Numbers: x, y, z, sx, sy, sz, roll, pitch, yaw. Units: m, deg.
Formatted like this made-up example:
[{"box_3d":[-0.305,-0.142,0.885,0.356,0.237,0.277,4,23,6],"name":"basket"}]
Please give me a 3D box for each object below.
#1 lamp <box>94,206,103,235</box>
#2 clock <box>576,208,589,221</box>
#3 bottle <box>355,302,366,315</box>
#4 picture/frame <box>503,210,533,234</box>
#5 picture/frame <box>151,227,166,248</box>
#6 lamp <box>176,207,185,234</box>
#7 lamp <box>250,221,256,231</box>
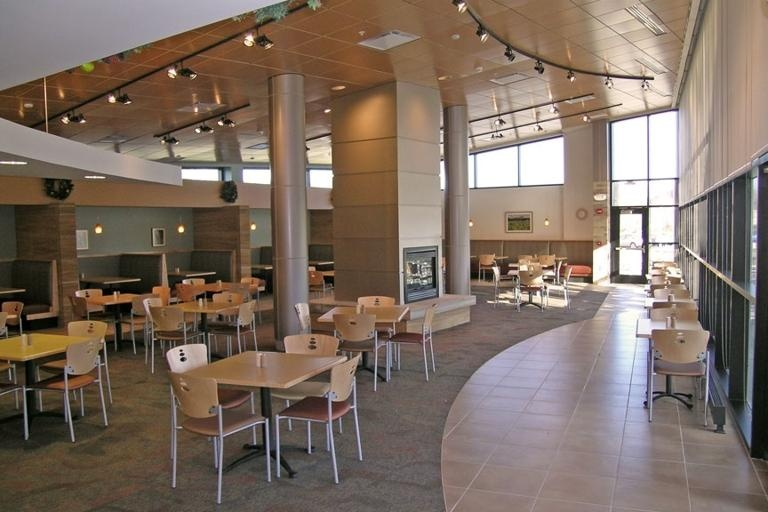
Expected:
[{"box_3d":[-7.818,-0.854,14.384,0.229,0.536,0.470,-5,9,-25],"name":"lamp"},{"box_3d":[7.230,-1.526,19.174,0.095,0.435,0.484,-8,10,-39],"name":"clock"},{"box_3d":[-0.382,0.832,8.411,0.130,0.139,0.158,-1,0,7],"name":"bottle"},{"box_3d":[5.326,-1.362,20.680,1.132,0.697,0.044,1,2,36],"name":"picture/frame"},{"box_3d":[-6.831,-0.588,15.838,0.090,0.678,0.687,-5,-1,37],"name":"picture/frame"},{"box_3d":[-6.372,-1.106,16.422,0.186,0.776,0.282,0,9,8],"name":"lamp"},{"box_3d":[-4.511,-1.016,18.093,0.237,0.263,0.089,2,11,-15],"name":"lamp"}]
